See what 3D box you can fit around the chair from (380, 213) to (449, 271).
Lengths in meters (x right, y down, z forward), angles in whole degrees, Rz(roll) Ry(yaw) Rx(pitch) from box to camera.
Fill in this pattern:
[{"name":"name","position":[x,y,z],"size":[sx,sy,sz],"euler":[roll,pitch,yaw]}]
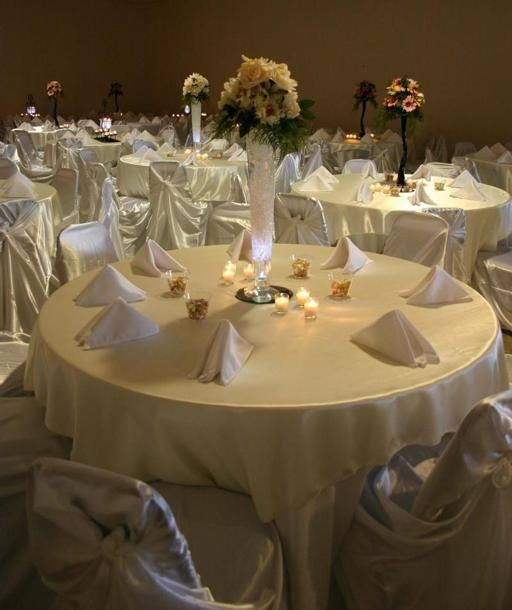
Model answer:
[{"name":"chair","position":[1.076,-0.479,2.967],"size":[0.346,0.192,0.482],"euler":[11,20,20]}]

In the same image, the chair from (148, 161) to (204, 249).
[{"name":"chair","position":[-1.033,-1.042,5.531],"size":[0.693,1.142,0.691],"euler":[-3,-5,-7]}]

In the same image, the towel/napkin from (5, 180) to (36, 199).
[{"name":"towel/napkin","position":[-1.956,-0.939,3.635],"size":[0.196,0.095,0.212],"euler":[2,48,-13]}]

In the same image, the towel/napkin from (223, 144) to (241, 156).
[{"name":"towel/napkin","position":[-0.358,-2.299,6.564],"size":[0.237,0.108,0.345],"euler":[-5,32,17]}]

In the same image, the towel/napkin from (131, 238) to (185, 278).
[{"name":"towel/napkin","position":[-0.496,-0.214,2.200],"size":[0.278,0.152,0.159],"euler":[22,33,40]}]

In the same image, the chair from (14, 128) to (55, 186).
[{"name":"chair","position":[-3.978,-2.776,7.886],"size":[0.628,0.637,0.479],"euler":[0,24,36]}]

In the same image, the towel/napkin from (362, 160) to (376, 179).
[{"name":"towel/napkin","position":[1.219,-1.479,4.932],"size":[0.171,0.192,0.179],"euler":[-9,41,2]}]

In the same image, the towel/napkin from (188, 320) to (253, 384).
[{"name":"towel/napkin","position":[-0.105,0.113,1.331],"size":[0.116,0.153,0.309],"euler":[5,16,18]}]

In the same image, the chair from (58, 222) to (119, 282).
[{"name":"chair","position":[-1.021,-0.307,2.680],"size":[0.367,0.368,0.207],"euler":[-25,55,-31]}]

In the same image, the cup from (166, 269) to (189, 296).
[{"name":"cup","position":[-0.344,-0.100,1.911],"size":[0.092,0.103,0.105],"euler":[2,10,6]}]

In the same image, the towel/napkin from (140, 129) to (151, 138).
[{"name":"towel/napkin","position":[-2.099,-3.191,8.363],"size":[0.148,0.179,0.586],"euler":[-4,15,-12]}]

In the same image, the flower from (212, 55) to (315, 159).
[{"name":"flower","position":[0.023,-0.739,1.641],"size":[0.286,0.263,0.287],"euler":[1,4,-42]}]

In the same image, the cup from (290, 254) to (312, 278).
[{"name":"cup","position":[0.212,-0.195,2.179],"size":[0.092,0.093,0.107],"euler":[7,28,11]}]

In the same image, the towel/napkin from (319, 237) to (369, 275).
[{"name":"towel/napkin","position":[0.468,-0.258,2.364],"size":[0.259,0.228,0.152],"euler":[10,24,20]}]

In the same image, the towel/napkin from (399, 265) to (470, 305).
[{"name":"towel/napkin","position":[0.744,-0.094,1.919],"size":[0.301,0.124,0.246],"euler":[-10,16,-9]}]

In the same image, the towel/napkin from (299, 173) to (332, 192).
[{"name":"towel/napkin","position":[0.588,-1.176,4.364],"size":[0.247,0.126,0.283],"euler":[4,39,9]}]

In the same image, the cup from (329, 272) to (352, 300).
[{"name":"cup","position":[0.350,-0.079,1.930],"size":[0.104,0.100,0.099],"euler":[-3,21,1]}]

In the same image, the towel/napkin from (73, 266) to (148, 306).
[{"name":"towel/napkin","position":[-0.616,-0.070,1.844],"size":[0.190,0.109,0.200],"euler":[0,10,-5]}]

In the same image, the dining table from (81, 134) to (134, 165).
[{"name":"dining table","position":[-2.679,-2.741,7.882],"size":[0.843,0.346,0.906],"euler":[11,35,8]}]

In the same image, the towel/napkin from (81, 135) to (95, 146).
[{"name":"towel/napkin","position":[-3.097,-2.969,8.073],"size":[0.276,0.079,0.308],"euler":[-12,56,-32]}]

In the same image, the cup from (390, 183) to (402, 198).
[{"name":"cup","position":[1.261,-1.046,4.060],"size":[0.121,0.110,0.114],"euler":[-1,20,0]}]

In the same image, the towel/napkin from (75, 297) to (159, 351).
[{"name":"towel/napkin","position":[-0.494,0.043,1.539],"size":[0.269,0.133,0.288],"euler":[5,13,5]}]

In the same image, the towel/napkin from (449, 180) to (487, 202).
[{"name":"towel/napkin","position":[1.933,-1.040,4.092],"size":[0.214,0.099,0.290],"euler":[11,34,22]}]

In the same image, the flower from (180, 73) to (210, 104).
[{"name":"flower","position":[-0.863,-2.973,6.132],"size":[0.318,0.406,0.459],"euler":[-4,15,-11]}]

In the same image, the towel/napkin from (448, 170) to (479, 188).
[{"name":"towel/napkin","position":[1.977,-1.182,4.263],"size":[0.276,0.151,0.227],"euler":[5,24,26]}]

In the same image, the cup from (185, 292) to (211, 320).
[{"name":"cup","position":[-0.220,-0.005,1.635],"size":[0.081,0.082,0.093],"euler":[2,13,0]}]
